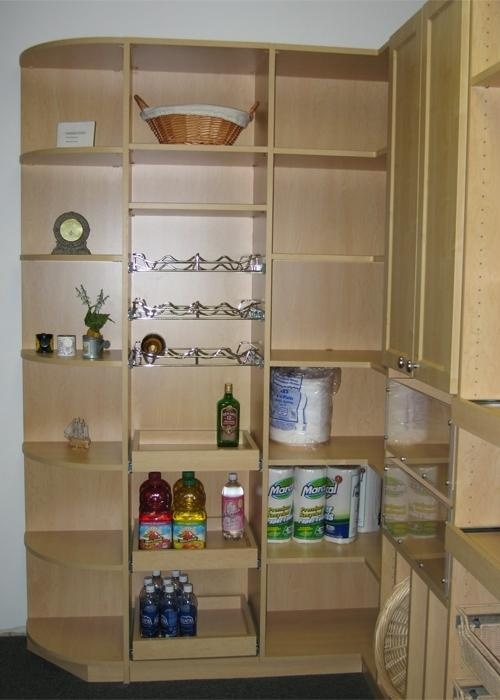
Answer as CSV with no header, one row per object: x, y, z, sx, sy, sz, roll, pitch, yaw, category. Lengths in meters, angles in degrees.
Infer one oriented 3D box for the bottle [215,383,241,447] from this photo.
-0.073,0.215,2.145,0.068,0.186,0.032,-1,0,8,bottle

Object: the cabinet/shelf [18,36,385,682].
-0.200,0.033,2.256,1.258,1.944,0.453,-2,9,-21,cabinet/shelf

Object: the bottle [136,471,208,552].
-0.256,0.534,2.119,0.269,0.356,0.133,0,-1,-2,bottle

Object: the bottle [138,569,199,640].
-0.277,0.834,2.156,0.196,0.183,0.182,-1,0,-6,bottle

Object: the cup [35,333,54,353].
-0.673,-0.023,2.138,0.063,0.071,0.062,-1,-6,0,cup

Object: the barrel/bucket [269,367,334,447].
0.179,0.180,2.254,0.220,0.235,0.219,1,11,0,barrel/bucket

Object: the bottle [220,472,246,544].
-0.057,0.523,2.216,0.074,0.197,0.144,-1,0,-1,bottle

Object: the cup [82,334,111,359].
-0.487,-0.002,2.087,0.095,0.068,0.059,0,1,-32,cup

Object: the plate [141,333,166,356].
-0.324,-0.024,2.182,0.078,0.077,0.071,22,-10,-7,plate

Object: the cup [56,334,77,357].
-0.582,-0.014,2.054,0.067,0.074,0.066,2,-1,0,cup
